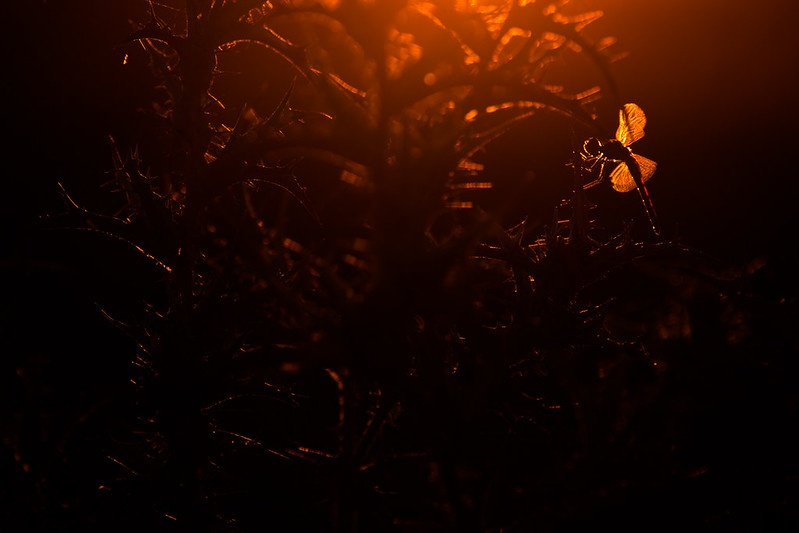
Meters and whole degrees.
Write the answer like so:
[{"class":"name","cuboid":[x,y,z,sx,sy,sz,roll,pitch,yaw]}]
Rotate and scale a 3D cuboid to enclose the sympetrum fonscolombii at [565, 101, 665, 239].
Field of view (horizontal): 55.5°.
[{"class":"sympetrum fonscolombii","cuboid":[0.662,-0.271,2.430,0.345,0.379,0.174,-14,-5,-17]}]
